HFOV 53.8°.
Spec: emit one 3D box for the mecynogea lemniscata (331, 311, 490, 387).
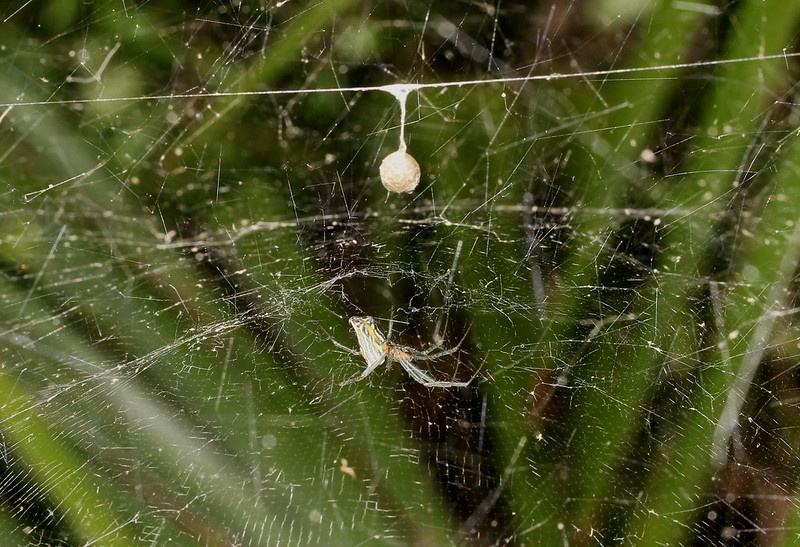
[{"bbox_3d":[0.030,0.216,2.055,0.267,0.271,0.099,12,101,49],"label":"mecynogea lemniscata"}]
